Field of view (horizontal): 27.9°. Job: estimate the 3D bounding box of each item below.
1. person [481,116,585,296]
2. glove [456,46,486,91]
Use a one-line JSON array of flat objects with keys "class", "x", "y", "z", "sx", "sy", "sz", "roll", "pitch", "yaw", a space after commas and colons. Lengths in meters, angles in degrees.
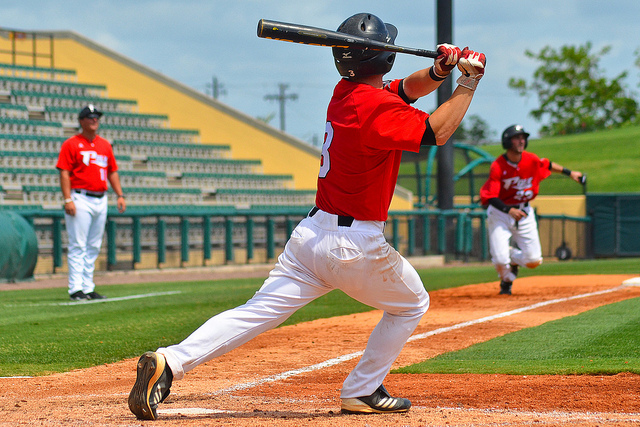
[{"class": "person", "x": 3.440, "y": -0.049, "z": 21.952, "sx": 1.348, "sy": 3.104, "sz": 1.058, "roll": 1, "pitch": 14, "yaw": 10}, {"class": "glove", "x": 1.995, "y": -1.906, "z": 17.056, "sx": 0.353, "sy": 0.522, "sz": 0.298, "roll": 2, "pitch": 14, "yaw": 13}]
